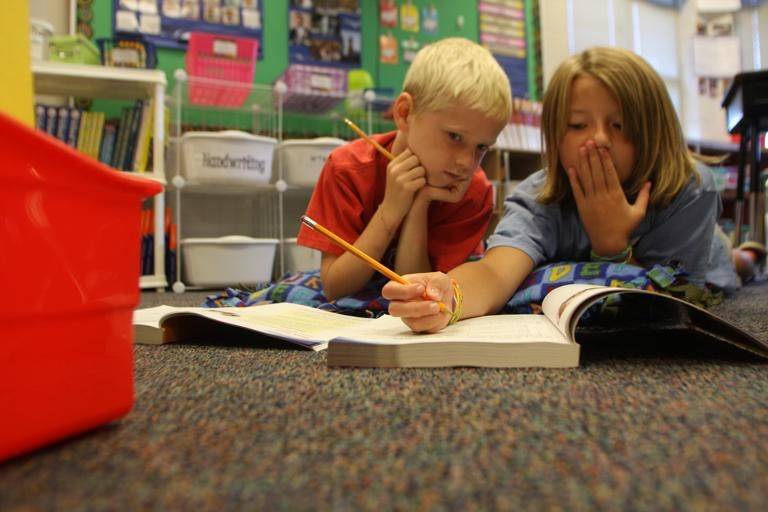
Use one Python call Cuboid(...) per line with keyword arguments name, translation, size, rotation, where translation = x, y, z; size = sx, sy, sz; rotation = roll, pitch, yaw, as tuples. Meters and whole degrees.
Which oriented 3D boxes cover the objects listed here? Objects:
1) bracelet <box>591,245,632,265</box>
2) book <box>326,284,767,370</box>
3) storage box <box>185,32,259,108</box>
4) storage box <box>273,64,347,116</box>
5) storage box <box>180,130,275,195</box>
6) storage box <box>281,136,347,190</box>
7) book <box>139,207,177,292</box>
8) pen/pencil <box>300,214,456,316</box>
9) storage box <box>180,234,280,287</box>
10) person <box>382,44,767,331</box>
Cuboid(name="bracelet", translation=(0.386, 0.002, 1.066), size=(0.043, 0.021, 0.037), rotation=(-4, -5, -2))
Cuboid(name="book", translation=(0.190, 0.074, 0.840), size=(0.495, 0.110, 0.259), rotation=(-1, 13, 5))
Cuboid(name="storage box", translation=(-0.582, -0.672, 2.286), size=(0.211, 0.281, 0.127), rotation=(3, 48, -14))
Cuboid(name="storage box", translation=(-0.303, -0.648, 2.682), size=(0.244, 0.087, 0.250), rotation=(1, -3, -21))
Cuboid(name="storage box", translation=(-0.546, -0.317, 2.215), size=(0.245, 0.111, 0.196), rotation=(0, 0, -16))
Cuboid(name="storage box", translation=(-0.302, -0.353, 2.566), size=(0.202, 0.110, 0.259), rotation=(0, 1, 3))
Cuboid(name="book", translation=(-0.791, -0.031, 2.236), size=(0.086, 0.297, 0.217), rotation=(2, 2, 2))
Cuboid(name="pen/pencil", translation=(-0.003, 0.009, 1.054), size=(0.283, 0.021, 0.021), rotation=(38, -6, -17))
Cuboid(name="storage box", translation=(-0.547, 0.018, 2.260), size=(0.310, 0.146, 0.242), rotation=(-1, -2, -12))
Cuboid(name="person", translation=(0.316, -0.115, 1.052), size=(0.351, 0.429, 0.747), rotation=(2, 9, 34))
